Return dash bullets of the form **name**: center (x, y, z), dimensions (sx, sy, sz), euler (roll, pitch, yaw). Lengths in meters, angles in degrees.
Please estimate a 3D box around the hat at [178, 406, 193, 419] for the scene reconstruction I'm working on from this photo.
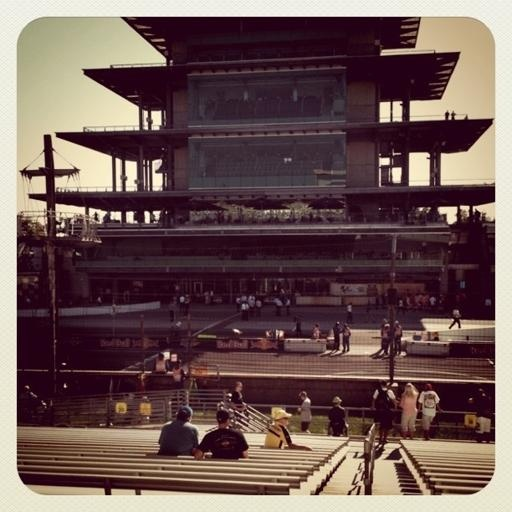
- **hat**: center (-3.095, 6.959, 67.568), dimensions (0.443, 0.547, 0.578), euler (5, 39, -1)

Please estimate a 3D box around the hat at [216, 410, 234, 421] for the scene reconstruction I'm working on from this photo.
- **hat**: center (-1.368, 7.072, 67.290), dimensions (0.453, 0.585, 0.605), euler (1, 5, 10)

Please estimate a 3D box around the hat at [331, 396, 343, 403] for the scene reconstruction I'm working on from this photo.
- **hat**: center (3.870, 6.935, 72.814), dimensions (0.451, 0.221, 0.595), euler (0, 0, 15)
